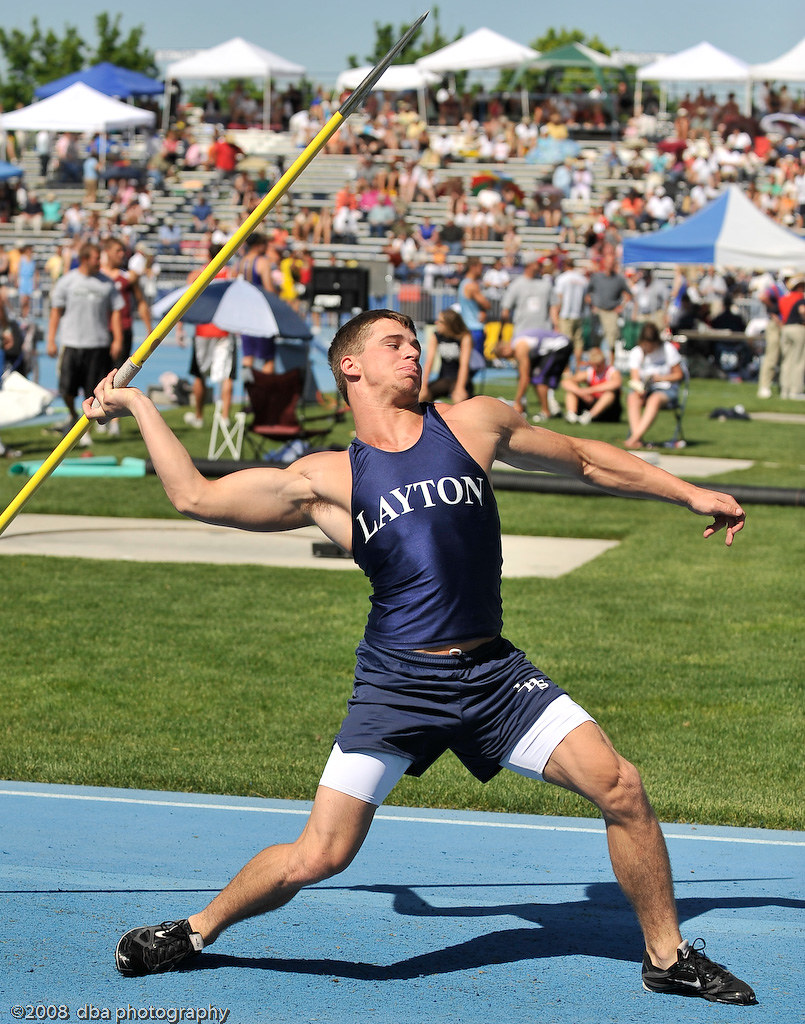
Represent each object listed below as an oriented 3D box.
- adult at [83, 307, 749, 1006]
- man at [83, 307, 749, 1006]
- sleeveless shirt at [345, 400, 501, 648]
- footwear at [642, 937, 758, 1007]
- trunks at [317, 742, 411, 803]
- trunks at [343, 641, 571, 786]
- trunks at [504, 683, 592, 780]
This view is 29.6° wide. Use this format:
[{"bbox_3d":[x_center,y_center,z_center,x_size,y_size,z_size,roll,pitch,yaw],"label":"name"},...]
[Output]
[{"bbox_3d":[0.015,0.349,3.950,2.112,1.717,0.509,-4,0,29],"label":"adult"},{"bbox_3d":[0.012,0.353,3.952,2.088,1.701,0.523,-5,1,30],"label":"man"},{"bbox_3d":[0.046,0.078,3.859,0.362,0.538,0.234,1,12,-3],"label":"sleeveless shirt"},{"bbox_3d":[0.751,1.201,3.974,0.367,0.142,0.120,2,3,17],"label":"footwear"},{"bbox_3d":[-0.100,0.652,3.853,0.232,0.138,0.158,22,-9,-19],"label":"trunks"},{"bbox_3d":[0.076,0.478,3.915,0.679,0.404,0.287,-3,-6,-30],"label":"trunks"},{"bbox_3d":[0.353,0.569,3.878,0.151,0.228,0.224,47,27,-2],"label":"trunks"}]
